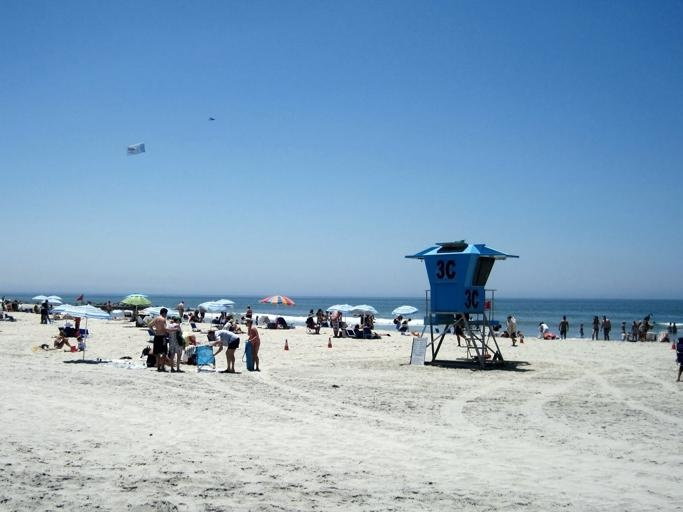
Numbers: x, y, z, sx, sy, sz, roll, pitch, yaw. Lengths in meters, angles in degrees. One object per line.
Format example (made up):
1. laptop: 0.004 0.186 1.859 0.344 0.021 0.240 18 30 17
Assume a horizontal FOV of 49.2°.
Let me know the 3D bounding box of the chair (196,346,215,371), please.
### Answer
1. chair: -3.661 2.734 20.101 0.447 0.739 0.221 -1 -6 -10

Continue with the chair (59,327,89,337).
1. chair: -8.364 2.362 23.324 0.666 0.269 0.569 -2 -4 19

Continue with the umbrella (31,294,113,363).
1. umbrella: -7.202 2.279 20.613 1.978 1.724 1.832 11 -3 21
